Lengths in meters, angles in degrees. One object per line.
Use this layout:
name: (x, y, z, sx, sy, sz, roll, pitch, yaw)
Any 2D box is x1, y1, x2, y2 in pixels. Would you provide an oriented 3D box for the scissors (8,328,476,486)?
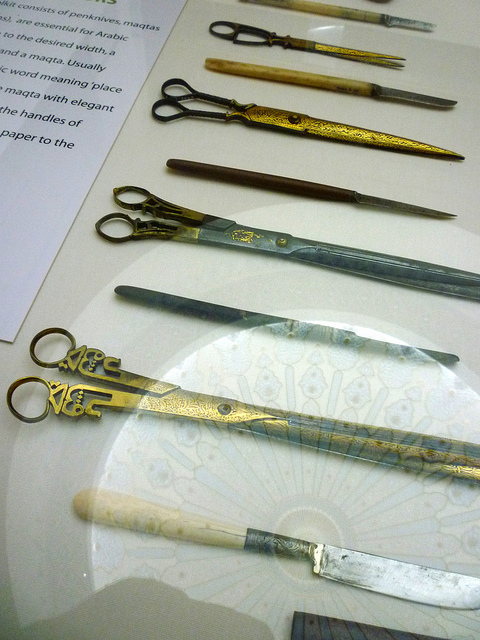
scissors: (-0.010, 0.106, 0.821, 0.620, 0.208, 0.111, -1, -6, 6)

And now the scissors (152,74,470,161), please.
scissors: (0.145, -0.401, 1.220, 0.574, 0.112, 0.039, 13, -39, 12)

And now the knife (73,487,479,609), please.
knife: (0.045, 0.268, 0.695, 0.511, 0.056, 0.042, 9, -10, 3)

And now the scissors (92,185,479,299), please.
scissors: (0.074, -0.123, 1.003, 0.620, 0.122, 0.044, 10, -38, 11)

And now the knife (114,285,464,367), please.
knife: (0.061, 0.013, 0.862, 0.567, 0.042, 0.013, 10, -6, 10)

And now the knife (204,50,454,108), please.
knife: (0.191, -0.506, 1.284, 0.653, 0.051, 0.032, 10, -23, 10)

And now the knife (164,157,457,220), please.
knife: (0.121, -0.235, 1.103, 0.487, 0.045, 0.024, 11, -42, 12)

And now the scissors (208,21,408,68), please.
scissors: (0.144, -0.603, 1.334, 0.405, 0.062, 0.032, 11, -31, 10)
